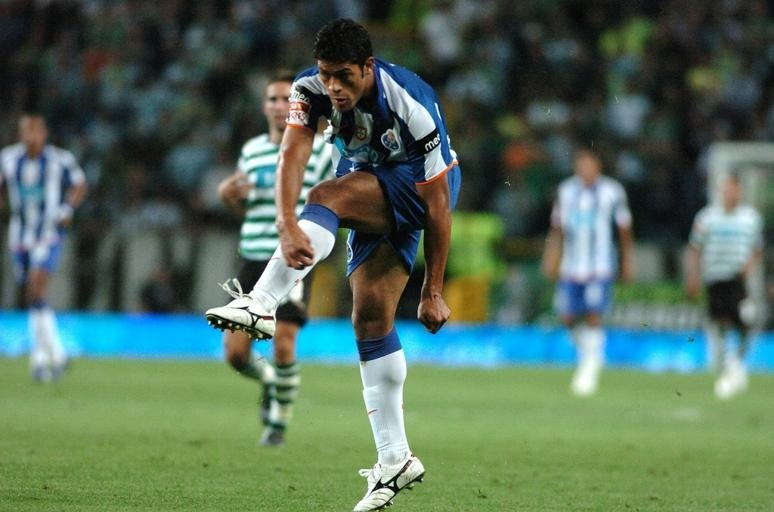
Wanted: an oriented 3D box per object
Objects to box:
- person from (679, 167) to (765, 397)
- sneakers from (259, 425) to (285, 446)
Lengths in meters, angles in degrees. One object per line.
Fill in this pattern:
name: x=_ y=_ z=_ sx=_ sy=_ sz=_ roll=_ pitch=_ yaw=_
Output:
person: x=4.100 y=0.266 z=13.913 sx=0.849 sy=2.509 sz=0.683 roll=3 pitch=7 yaw=16
sneakers: x=-1.052 y=1.688 z=10.694 sx=0.154 sy=0.196 sz=0.195 roll=45 pitch=-21 yaw=-24
